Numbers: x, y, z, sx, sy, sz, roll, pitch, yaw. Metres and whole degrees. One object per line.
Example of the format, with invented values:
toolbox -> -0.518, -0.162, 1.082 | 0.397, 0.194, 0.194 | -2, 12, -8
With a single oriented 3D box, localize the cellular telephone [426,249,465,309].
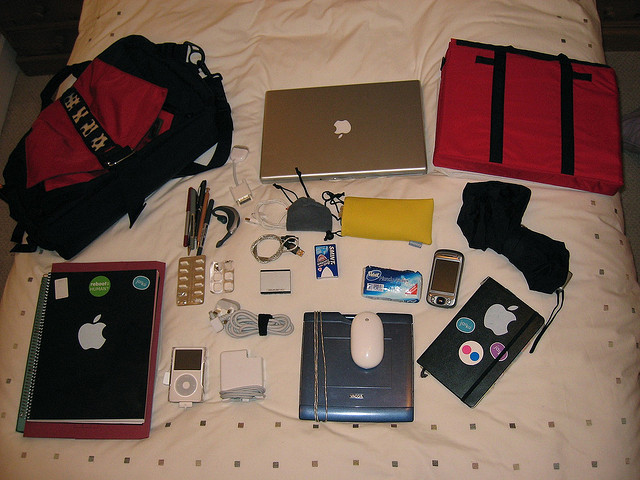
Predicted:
cellular telephone -> 0.498, 0.158, 2.255 | 0.124, 0.059, 0.242 | 5, 80, 15

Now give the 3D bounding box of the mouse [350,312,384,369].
mouse -> 0.183, 0.385, 2.169 | 0.127, 0.071, 0.203 | 2, 67, 2

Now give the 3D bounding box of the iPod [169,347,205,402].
iPod -> -0.520, 0.528, 2.218 | 0.125, 0.038, 0.195 | 1, 68, 1

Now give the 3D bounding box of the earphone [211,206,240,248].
earphone -> -0.392, -0.044, 2.438 | 0.101, 0.035, 0.174 | 14, 78, 5

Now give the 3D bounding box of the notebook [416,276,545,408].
notebook -> 0.616, 0.404, 2.198 | 0.270, 0.063, 0.490 | 41, 74, 16

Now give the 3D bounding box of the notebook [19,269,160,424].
notebook -> -0.924, 0.423, 2.290 | 0.517, 0.128, 0.603 | 1, 68, 1

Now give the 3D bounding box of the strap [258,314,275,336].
strap -> -0.226, 0.338, 2.247 | 0.068, 0.024, 0.074 | 1, 82, 4

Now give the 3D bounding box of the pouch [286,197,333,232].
pouch -> -0.045, -0.095, 2.351 | 0.144, 0.043, 0.150 | -4, 90, 0

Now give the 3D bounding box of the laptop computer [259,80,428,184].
laptop computer -> 0.080, -0.452, 2.461 | 0.681, 0.100, 0.458 | -5, 76, 8

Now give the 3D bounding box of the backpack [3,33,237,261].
backpack -> -0.823, -0.362, 2.742 | 0.841, 0.341, 1.057 | 43, 92, 16
